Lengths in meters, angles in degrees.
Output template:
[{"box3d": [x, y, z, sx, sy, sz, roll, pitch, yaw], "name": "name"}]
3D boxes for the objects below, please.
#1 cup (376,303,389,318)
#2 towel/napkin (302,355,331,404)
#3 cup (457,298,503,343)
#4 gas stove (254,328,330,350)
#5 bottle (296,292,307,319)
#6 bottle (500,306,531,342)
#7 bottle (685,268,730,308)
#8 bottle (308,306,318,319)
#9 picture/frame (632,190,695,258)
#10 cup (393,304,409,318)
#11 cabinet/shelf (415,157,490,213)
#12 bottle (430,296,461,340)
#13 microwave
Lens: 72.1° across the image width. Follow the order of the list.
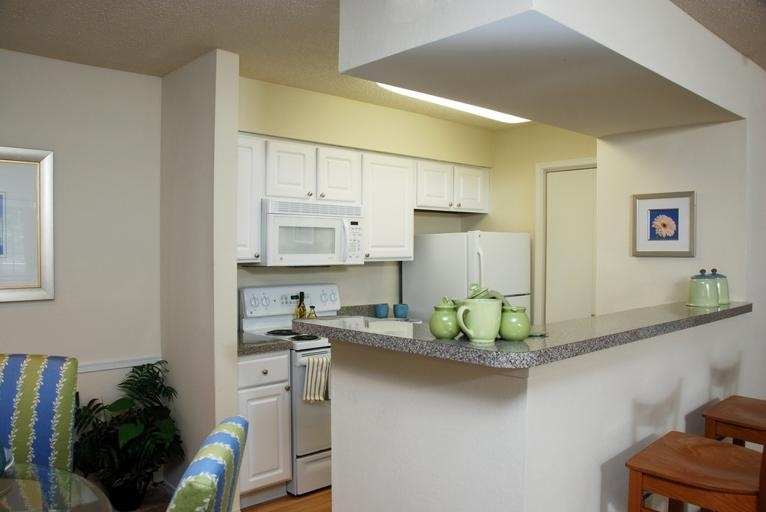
[{"box3d": [-0.016, 0.482, 4.584, 0.120, 0.094, 0.114, -2, 0, 0], "name": "cup"}, {"box3d": [-0.505, 0.880, 3.758, 0.066, 0.321, 0.243, -9, -15, 44], "name": "towel/napkin"}, {"box3d": [0.379, 0.269, 2.184, 0.233, 0.173, 0.158, 4, -5, -43], "name": "cup"}, {"box3d": [-0.688, 0.620, 3.979, 0.300, 0.102, 0.579, -2, 3, -40], "name": "gas stove"}, {"box3d": [-0.680, 0.401, 4.361, 0.074, 0.209, 0.136, -2, 1, 36], "name": "bottle"}, {"box3d": [0.561, 0.289, 2.246, 0.149, 0.141, 0.147, -3, 3, -11], "name": "bottle"}, {"box3d": [2.044, 0.211, 3.347, 0.284, 0.255, 0.205, -1, 0, 15], "name": "bottle"}, {"box3d": [-0.595, 0.465, 4.432, 0.086, 0.098, 0.162, -2, 0, -8], "name": "bottle"}, {"box3d": [1.988, -0.224, 3.681, 0.463, 0.565, 0.048, 2, 3, 30], "name": "picture/frame"}, {"box3d": [0.149, 0.473, 4.518, 0.115, 0.129, 0.120, 0, 0, 0], "name": "cup"}, {"box3d": [0.641, -0.686, 5.232, 0.962, 0.461, 0.299, -1, 3, -35], "name": "cabinet/shelf"}, {"box3d": [0.240, 0.268, 2.301, 0.168, 0.226, 0.165, 0, -4, 0], "name": "bottle"}, {"box3d": [-0.602, -0.179, 4.323, 0.860, 0.513, 0.405, -1, 6, -34], "name": "microwave"}]
